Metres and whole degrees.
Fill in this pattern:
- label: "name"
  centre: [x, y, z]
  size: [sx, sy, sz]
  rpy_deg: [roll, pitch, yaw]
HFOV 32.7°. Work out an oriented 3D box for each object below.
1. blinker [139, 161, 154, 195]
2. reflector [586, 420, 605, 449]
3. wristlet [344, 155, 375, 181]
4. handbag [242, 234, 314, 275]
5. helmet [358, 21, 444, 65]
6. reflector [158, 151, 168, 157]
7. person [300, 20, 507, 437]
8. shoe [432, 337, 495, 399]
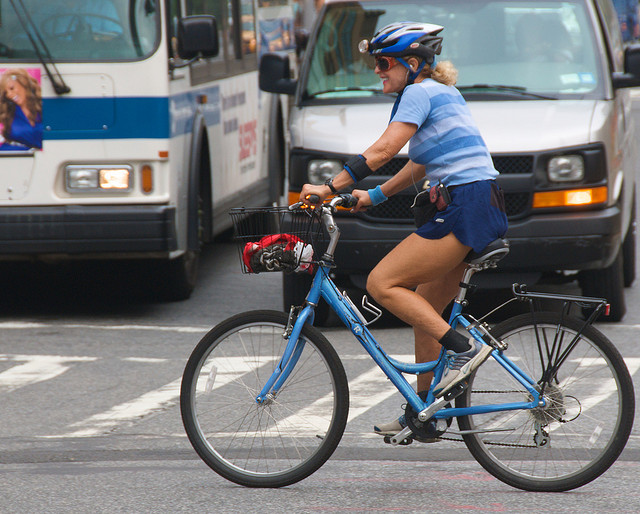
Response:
- label: "blinker"
  centre: [-1.355, -0.602, 8.508]
  size: [0.108, 0.255, 0.044]
  rpy_deg: [-3, 14, -6]
- label: "reflector"
  centre: [1.334, 0.844, 5.193]
  size: [0.089, 0.118, 0.046]
  rpy_deg: [-12, 17, -41]
- label: "wristlet"
  centre: [0.172, -0.414, 5.095]
  size: [0.073, 0.139, 0.103]
  rpy_deg: [-48, 32, 0]
- label: "handbag"
  centre: [-0.217, -0.009, 5.294]
  size: [0.325, 0.111, 0.207]
  rpy_deg: [-10, 29, -3]
- label: "helmet"
  centre: [0.413, -1.041, 5.288]
  size: [0.432, 0.137, 0.257]
  rpy_deg: [-2, 24, -14]
- label: "reflector"
  centre: [-1.223, -0.786, 8.503]
  size: [0.057, 0.030, 0.050]
  rpy_deg: [1, 6, 12]
- label: "person"
  centre: [0.503, -0.112, 5.298]
  size: [0.802, 1.993, 0.630]
  rpy_deg: [0, 13, 8]
- label: "shoe"
  centre: [0.691, 0.536, 5.163]
  size: [0.298, 0.285, 0.102]
  rpy_deg: [-2, 13, -2]
